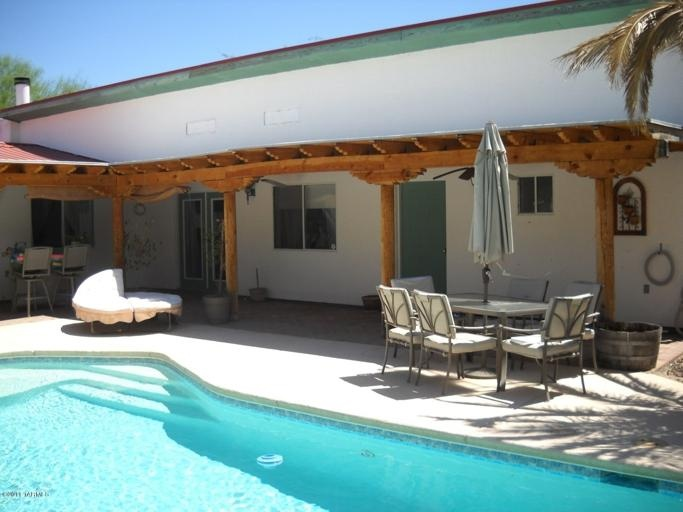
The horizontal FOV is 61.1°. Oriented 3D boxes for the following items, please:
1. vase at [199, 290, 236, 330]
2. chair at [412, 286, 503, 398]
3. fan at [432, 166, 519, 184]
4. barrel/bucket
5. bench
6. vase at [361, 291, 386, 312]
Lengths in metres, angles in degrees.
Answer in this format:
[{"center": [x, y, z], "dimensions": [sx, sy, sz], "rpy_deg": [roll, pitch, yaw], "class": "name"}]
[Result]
[{"center": [-2.493, 1.068, 11.684], "dimensions": [0.591, 0.441, 0.564], "rpy_deg": [-1, 0, -15], "class": "vase"}, {"center": [1.698, 1.011, 7.990], "dimensions": [1.253, 1.663, 1.296], "rpy_deg": [-3, 3, -24], "class": "chair"}, {"center": [2.279, -1.367, 9.738], "dimensions": [0.890, 0.236, 0.810], "rpy_deg": [4, 0, -38], "class": "fan"}, {"center": [4.031, 1.240, 8.302], "dimensions": [0.734, 0.470, 0.770], "rpy_deg": [0, -1, 0], "class": "barrel/bucket"}, {"center": [-4.311, 0.849, 11.244], "dimensions": [1.542, 0.794, 1.456], "rpy_deg": [-1, 5, -18], "class": "bench"}, {"center": [0.713, 1.006, 12.711], "dimensions": [0.395, 0.226, 0.398], "rpy_deg": [3, 5, 35], "class": "vase"}]
